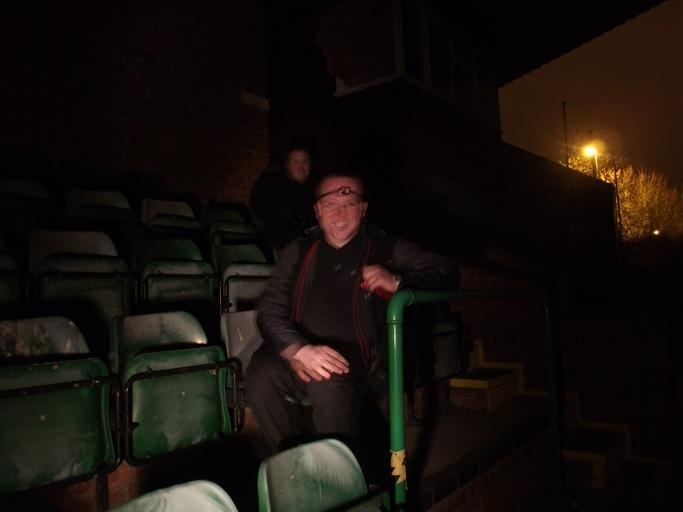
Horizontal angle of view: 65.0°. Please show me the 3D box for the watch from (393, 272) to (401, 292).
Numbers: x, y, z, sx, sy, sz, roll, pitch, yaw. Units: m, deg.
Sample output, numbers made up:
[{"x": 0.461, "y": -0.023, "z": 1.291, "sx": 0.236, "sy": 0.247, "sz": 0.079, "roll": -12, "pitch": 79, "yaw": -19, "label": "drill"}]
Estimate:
[{"x": 0.366, "y": 0.169, "z": 3.604, "sx": 0.034, "sy": 0.093, "sz": 0.067, "roll": 3, "pitch": -2, "yaw": -9, "label": "watch"}]
